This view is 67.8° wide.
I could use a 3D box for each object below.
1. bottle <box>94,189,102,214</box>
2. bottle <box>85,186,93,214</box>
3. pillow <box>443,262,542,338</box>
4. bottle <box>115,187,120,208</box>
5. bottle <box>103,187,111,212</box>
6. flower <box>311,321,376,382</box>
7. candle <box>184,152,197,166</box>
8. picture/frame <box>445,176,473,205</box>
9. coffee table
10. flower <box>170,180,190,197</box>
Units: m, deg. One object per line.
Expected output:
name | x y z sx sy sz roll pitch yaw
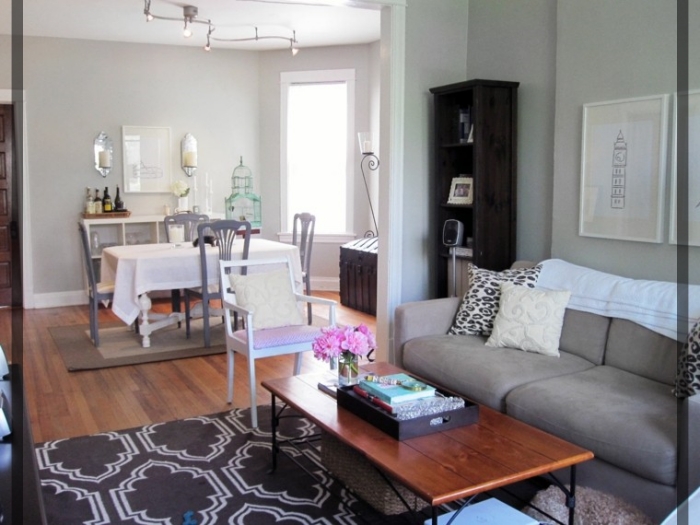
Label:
bottle | -3.227 -0.780 6.684 0.101 0.313 0.312 -5 11 -25
bottle | -3.313 -0.774 6.625 0.129 0.327 0.339 -6 11 -27
pillow | 0.904 0.260 3.534 0.544 0.527 0.167 0 -18 35
bottle | -3.040 -0.846 6.835 0.089 0.282 0.179 -5 11 -24
bottle | -3.140 -0.813 6.745 0.120 0.320 0.246 -5 11 -25
flower | -0.041 0.447 2.824 0.318 0.313 0.326 2 4 25
candle | -2.188 -1.420 7.127 0.188 0.216 0.190 0 1 -2
picture/frame | 0.885 -0.579 4.197 0.022 0.274 0.266 16 -10 -36
coffee table | 0.294 0.907 2.449 0.755 0.382 1.329 -8 12 -37
flower | -2.302 -0.999 7.130 0.241 0.234 0.301 -4 10 -18
